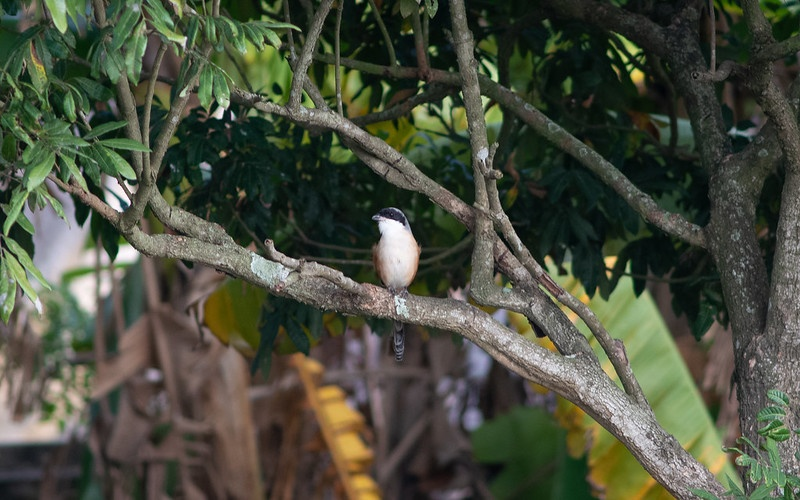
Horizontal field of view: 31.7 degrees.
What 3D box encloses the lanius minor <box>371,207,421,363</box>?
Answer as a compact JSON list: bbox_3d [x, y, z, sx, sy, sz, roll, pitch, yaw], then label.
[{"bbox_3d":[-0.021,0.372,14.594,0.422,1.700,0.620,-4,12,-4],"label":"lanius minor"}]
